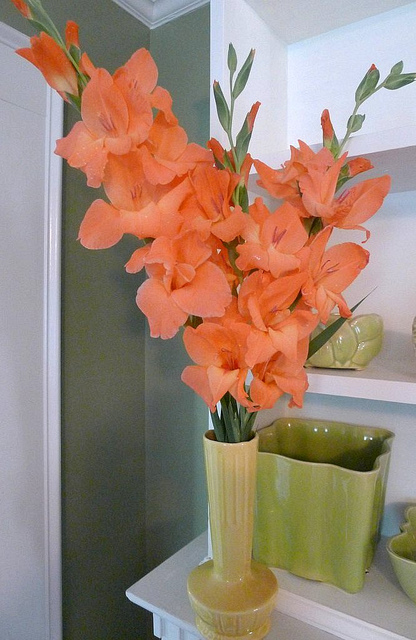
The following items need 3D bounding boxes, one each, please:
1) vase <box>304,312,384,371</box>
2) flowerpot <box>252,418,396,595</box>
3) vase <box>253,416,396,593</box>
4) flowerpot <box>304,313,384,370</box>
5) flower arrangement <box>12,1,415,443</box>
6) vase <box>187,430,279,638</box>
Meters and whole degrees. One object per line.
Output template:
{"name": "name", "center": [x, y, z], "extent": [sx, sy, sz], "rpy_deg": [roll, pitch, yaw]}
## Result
{"name": "vase", "center": [0.214, 0.029, 0.824], "extent": [0.146, 0.095, 0.146], "rpy_deg": [3, 7, 35]}
{"name": "flowerpot", "center": [0.173, 0.288, 0.870], "extent": [0.243, 0.182, 0.205], "rpy_deg": [0, 0, 30]}
{"name": "vase", "center": [0.173, 0.283, 0.870], "extent": [0.240, 0.181, 0.205], "rpy_deg": [0, 0, 42]}
{"name": "flowerpot", "center": [0.197, 0.025, 0.765], "extent": [0.122, 0.078, 0.095], "rpy_deg": [0, 2, 29]}
{"name": "flower arrangement", "center": [0.025, -0.069, 0.499], "extent": [0.396, 0.417, 0.160], "rpy_deg": [0, 2, -21]}
{"name": "vase", "center": [0.030, 0.258, 0.617], "extent": [0.107, 0.251, 0.109], "rpy_deg": [0, 2, -2]}
